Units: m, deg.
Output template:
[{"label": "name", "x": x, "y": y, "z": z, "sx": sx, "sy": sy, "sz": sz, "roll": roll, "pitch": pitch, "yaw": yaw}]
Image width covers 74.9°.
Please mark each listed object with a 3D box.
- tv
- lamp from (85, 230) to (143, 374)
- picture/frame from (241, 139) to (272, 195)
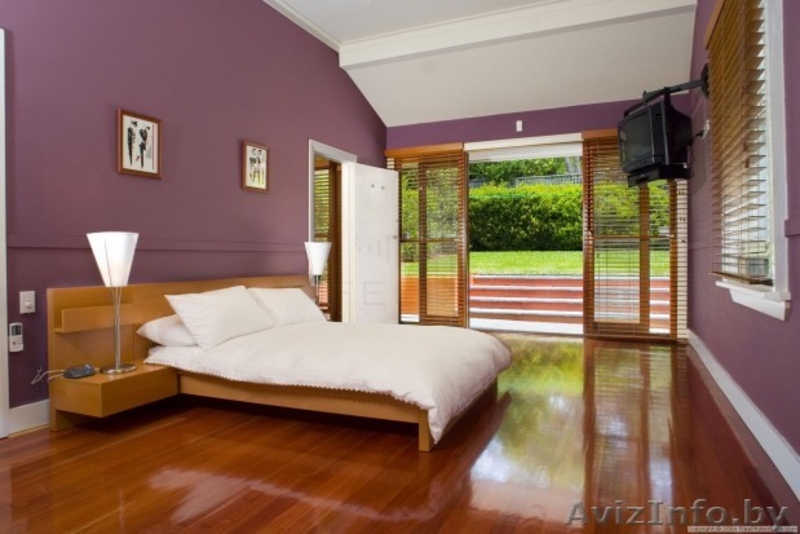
[{"label": "tv", "x": 2.643, "y": -1.275, "z": 5.433, "sx": 0.496, "sy": 0.702, "sz": 0.729, "roll": -4, "pitch": -1, "yaw": -10}, {"label": "lamp", "x": -2.087, "y": 0.249, "z": 3.869, "sx": 0.301, "sy": 1.033, "sz": 0.454, "roll": -7, "pitch": 12, "yaw": -33}, {"label": "picture/frame", "x": -1.447, "y": -1.001, "z": 5.223, "sx": 0.051, "sy": 0.655, "sz": 0.564, "roll": -2, "pitch": -4, "yaw": 25}]
